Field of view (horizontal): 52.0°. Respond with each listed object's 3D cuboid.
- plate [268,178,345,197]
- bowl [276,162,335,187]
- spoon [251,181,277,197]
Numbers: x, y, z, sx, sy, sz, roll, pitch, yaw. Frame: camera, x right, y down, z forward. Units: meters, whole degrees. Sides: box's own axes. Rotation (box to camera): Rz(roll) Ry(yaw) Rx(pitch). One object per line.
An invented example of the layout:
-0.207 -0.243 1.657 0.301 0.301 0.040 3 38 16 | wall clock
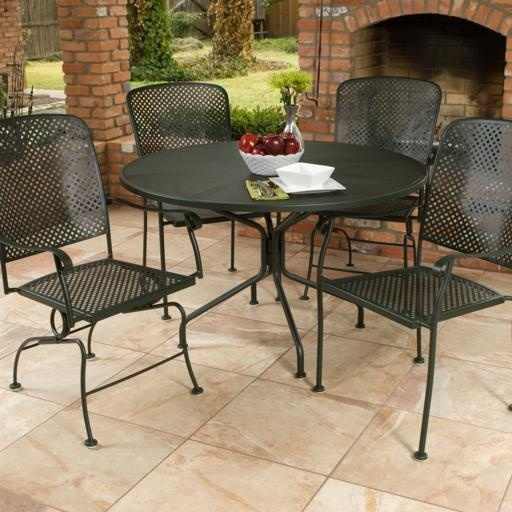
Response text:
0.179 -0.248 1.843 0.229 0.037 0.207 -2 16 -8 | plate
0.154 -0.281 1.810 0.150 0.039 0.127 11 20 38 | bowl
0.027 -0.225 1.779 0.047 0.012 0.126 -5 22 -5 | spoon
